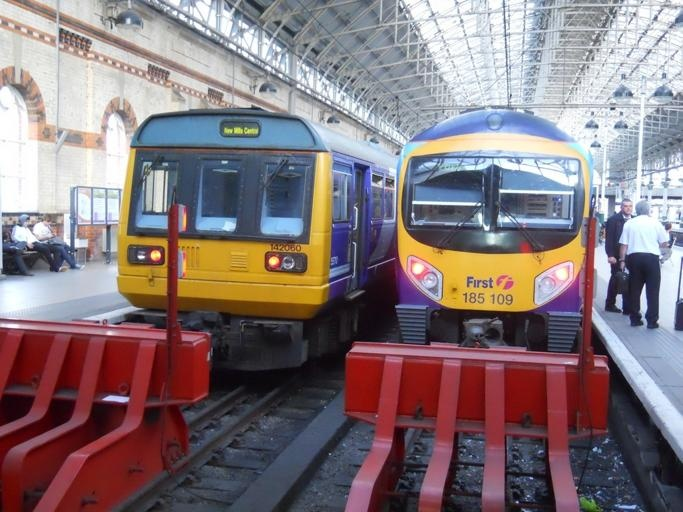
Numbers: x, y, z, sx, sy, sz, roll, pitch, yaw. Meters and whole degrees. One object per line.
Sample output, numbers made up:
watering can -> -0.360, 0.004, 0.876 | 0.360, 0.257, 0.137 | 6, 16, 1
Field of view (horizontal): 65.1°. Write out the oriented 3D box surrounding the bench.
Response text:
bench -> -8.092, -0.214, 14.377 | 1.631, 1.743, 0.831 | 0, 31, -12

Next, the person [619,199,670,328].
person -> 5.060, 0.136, 9.039 | 0.695, 2.162, 0.882 | 5, 5, 29

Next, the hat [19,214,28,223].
hat -> -8.436, -0.972, 14.174 | 0.178, 0.210, 0.274 | -1, 6, -41

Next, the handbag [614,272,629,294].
handbag -> 4.607, 0.439, 8.788 | 0.196, 0.375, 0.417 | 5, 5, 29
